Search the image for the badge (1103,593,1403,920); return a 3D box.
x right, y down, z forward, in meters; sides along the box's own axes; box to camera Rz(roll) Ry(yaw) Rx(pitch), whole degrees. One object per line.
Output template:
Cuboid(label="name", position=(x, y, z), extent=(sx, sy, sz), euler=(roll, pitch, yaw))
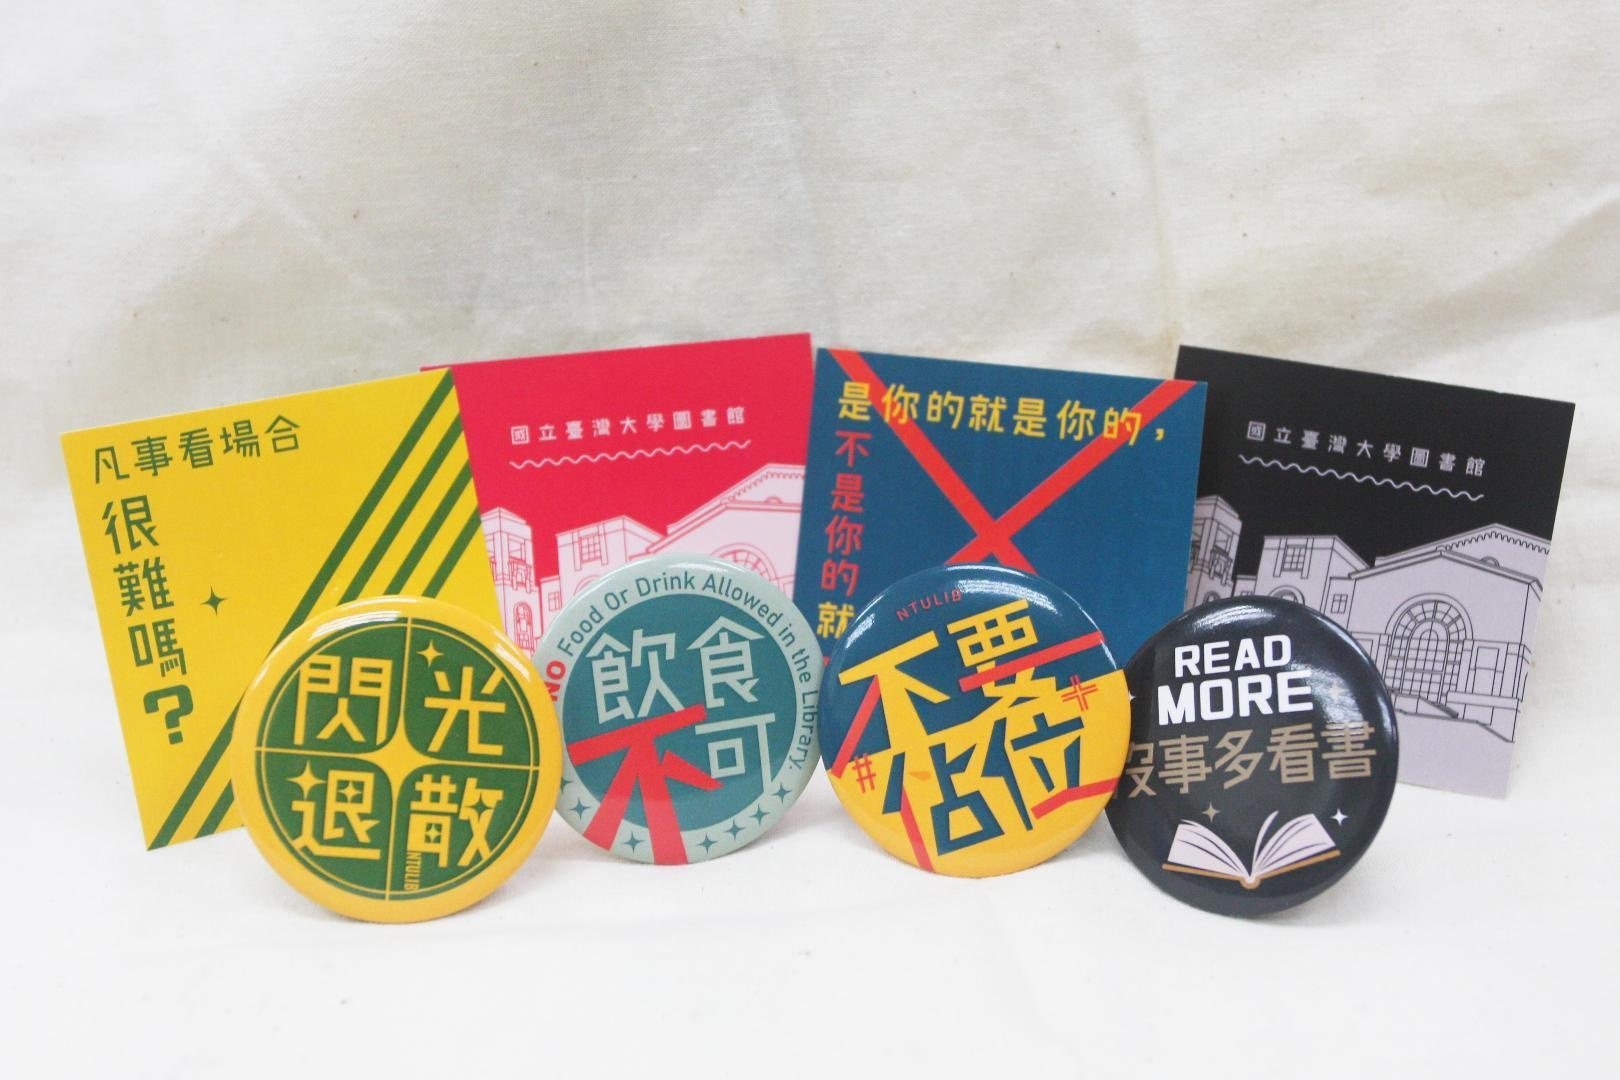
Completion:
Cuboid(label="badge", position=(0.748, 0.361, 2.705), extent=(0.449, 0.255, 0.475), euler=(7, 46, 15))

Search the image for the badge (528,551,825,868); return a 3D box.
Cuboid(label="badge", position=(-0.227, 0.294, 2.769), extent=(0.454, 0.344, 0.387), euler=(-11, 44, -3))

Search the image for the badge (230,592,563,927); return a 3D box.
Cuboid(label="badge", position=(-0.708, 0.385, 2.769), extent=(0.589, 0.584, 0.594), euler=(4, 9, -23))
